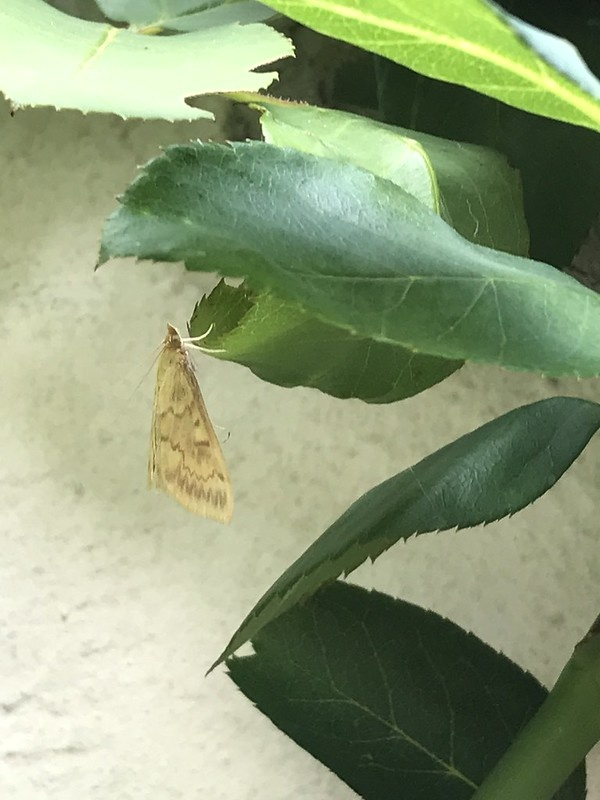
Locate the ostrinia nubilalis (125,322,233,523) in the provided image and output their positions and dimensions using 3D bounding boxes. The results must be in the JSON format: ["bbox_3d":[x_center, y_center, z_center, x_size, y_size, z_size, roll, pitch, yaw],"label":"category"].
[{"bbox_3d":[-0.053,0.012,0.556,0.030,0.078,0.102,-13,16,-33],"label":"ostrinia nubilalis"}]
